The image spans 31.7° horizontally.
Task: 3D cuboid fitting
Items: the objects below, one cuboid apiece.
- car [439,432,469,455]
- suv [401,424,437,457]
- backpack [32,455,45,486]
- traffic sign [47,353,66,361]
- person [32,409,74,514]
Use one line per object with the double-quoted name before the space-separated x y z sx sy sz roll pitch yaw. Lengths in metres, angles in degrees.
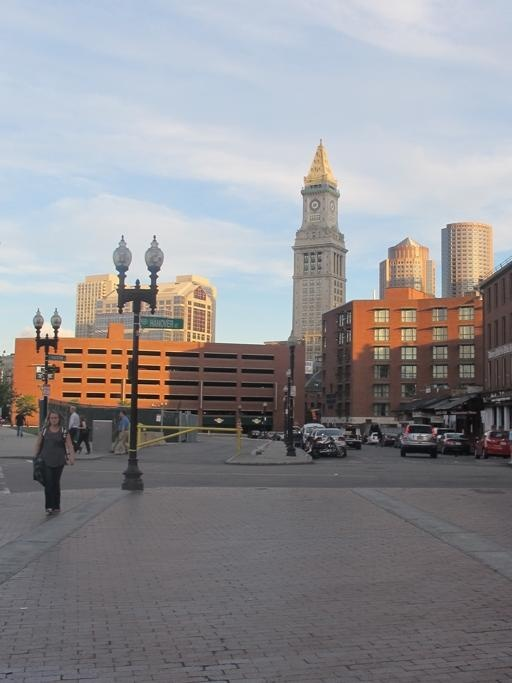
"car" 11.088 5.748 50.409 1.502 1.181 2.271 -1 -5 13
"suv" 7.389 4.411 41.241 1.159 0.851 2.180 0 1 8
"backpack" -3.125 1.874 12.980 0.138 0.377 0.280 2 -5 -20
"traffic sign" -9.163 0.674 41.228 0.396 0.257 1.615 7 -3 -34
"person" -2.961 1.761 13.173 0.547 1.454 0.977 1 -5 -12
